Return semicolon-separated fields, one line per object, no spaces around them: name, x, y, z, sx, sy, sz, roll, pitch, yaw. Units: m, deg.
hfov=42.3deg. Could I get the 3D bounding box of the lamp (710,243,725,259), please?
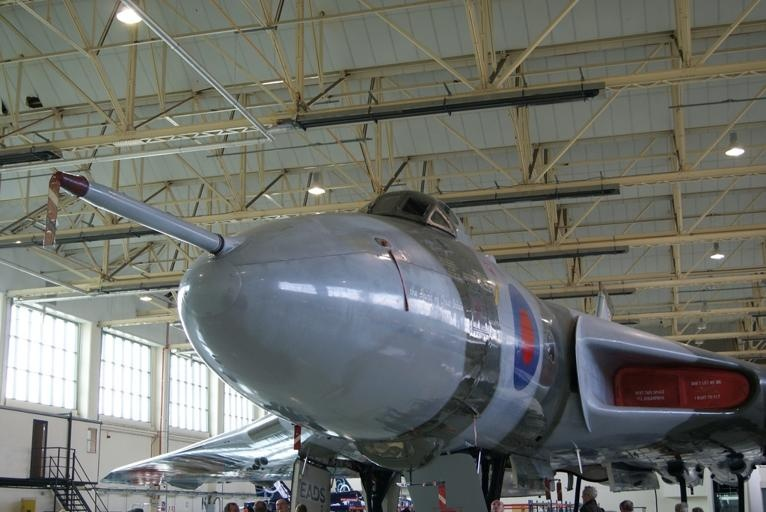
lamp;11.946;-0.195;35.337;0.634;0.568;0.615;0;-15;2
